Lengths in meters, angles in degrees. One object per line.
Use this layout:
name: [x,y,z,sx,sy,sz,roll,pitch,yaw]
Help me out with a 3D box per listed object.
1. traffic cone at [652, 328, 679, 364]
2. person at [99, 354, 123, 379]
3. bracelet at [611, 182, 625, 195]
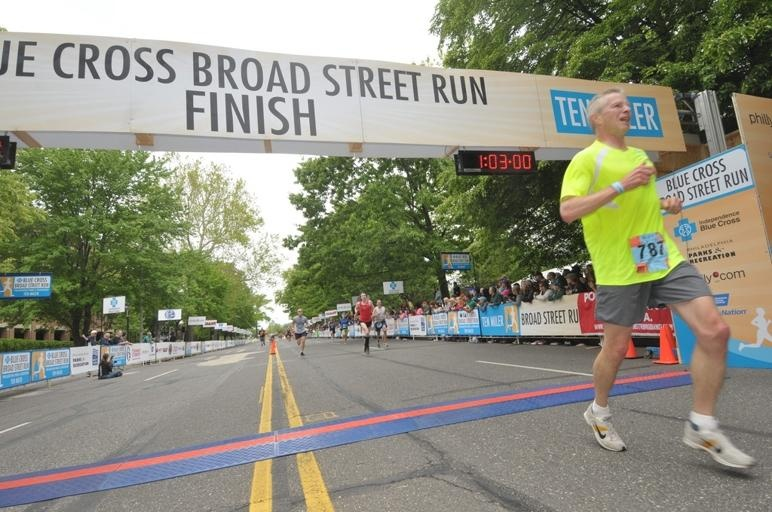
traffic cone: [5.683,1.813,10.428,0.586,0.683,0.587,-11,-8,43]
person: [-10.203,4.063,19.049,0.699,0.883,1.140,-3,-3,-30]
bracelet: [2.710,-0.785,6.028,0.124,0.091,0.126,14,-9,-25]
